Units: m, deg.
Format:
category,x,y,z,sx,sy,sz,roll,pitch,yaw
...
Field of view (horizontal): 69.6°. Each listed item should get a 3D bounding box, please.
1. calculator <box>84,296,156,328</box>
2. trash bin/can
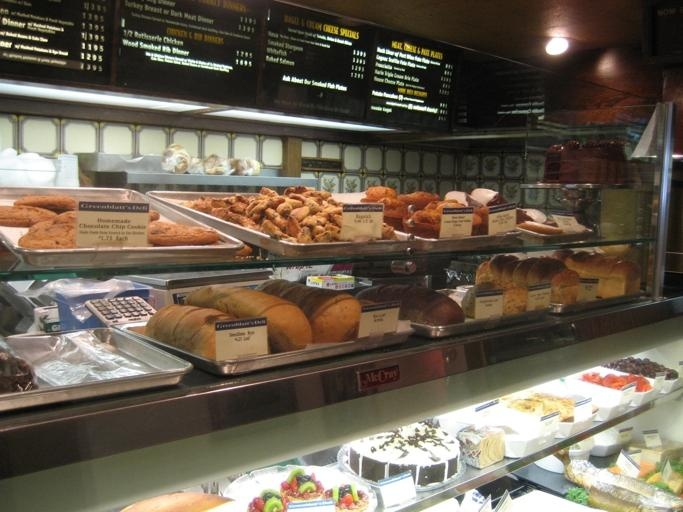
category,x,y,z,sx,sy,sz,roll,pitch,yaw
calculator,-0.614,0.137,1.430,0.197,0.077,0.149,10,12,34
trash bin/can,-0.767,0.129,1.574,0.230,0.112,0.225,-5,12,-41
